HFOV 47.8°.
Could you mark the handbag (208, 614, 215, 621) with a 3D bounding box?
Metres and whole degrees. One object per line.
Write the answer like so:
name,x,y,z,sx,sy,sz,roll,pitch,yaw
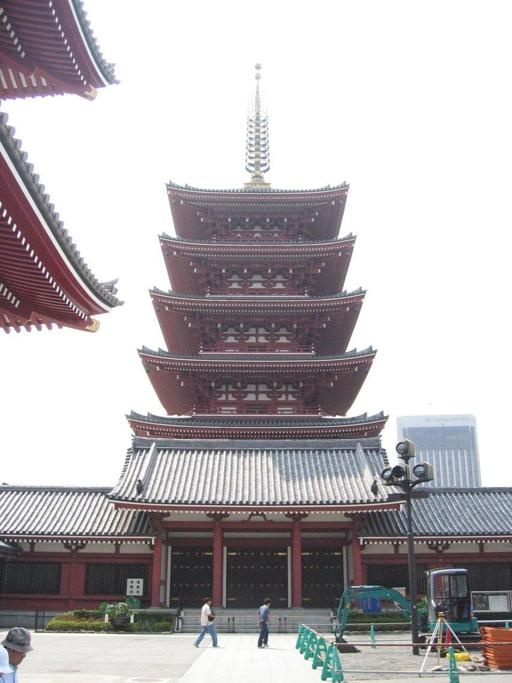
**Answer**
handbag,-1.178,7.378,15.331,0.211,0.167,0.241,4,-27,0
